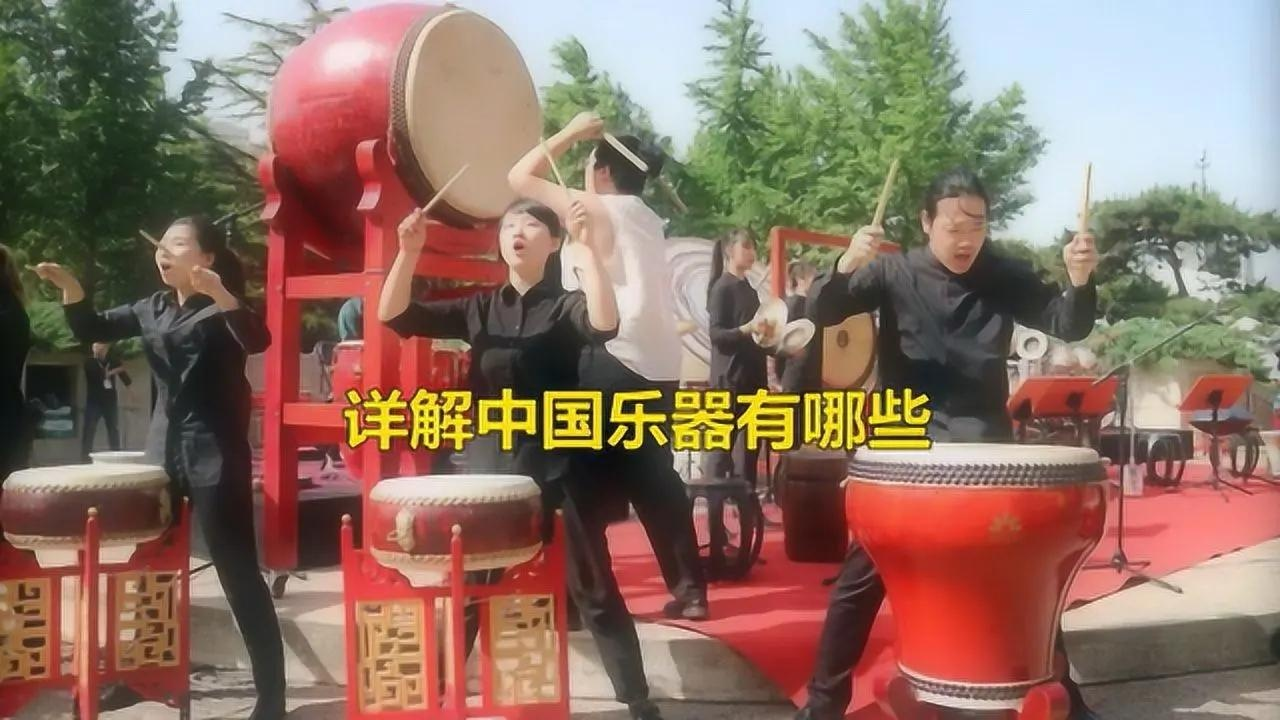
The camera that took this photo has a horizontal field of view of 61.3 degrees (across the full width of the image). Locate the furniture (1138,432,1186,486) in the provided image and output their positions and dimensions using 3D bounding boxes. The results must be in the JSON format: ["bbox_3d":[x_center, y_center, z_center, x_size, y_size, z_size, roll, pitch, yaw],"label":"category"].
[{"bbox_3d":[4.826,0.877,9.854,0.339,0.512,1.473,2,1,27],"label":"furniture"}]

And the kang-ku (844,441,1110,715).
[{"bbox_3d":[1.607,1.081,5.697,1.334,1.184,1.258,5,-10,-24],"label":"kang-ku"}]

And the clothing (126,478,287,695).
[{"bbox_3d":[-2.333,1.150,6.000,0.459,1.528,0.394,-18,7,-21],"label":"clothing"}]

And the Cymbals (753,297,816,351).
[{"bbox_3d":[0.847,-0.200,6.560,0.359,0.262,0.120,35,2,34],"label":"Cymbals"}]

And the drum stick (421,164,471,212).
[{"bbox_3d":[-1.172,-1.046,6.489,0.055,0.055,0.541,-33,15,41],"label":"drum stick"}]

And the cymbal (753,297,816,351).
[{"bbox_3d":[0.836,-0.202,6.491,0.359,0.262,0.120,35,2,34],"label":"cymbal"}]
